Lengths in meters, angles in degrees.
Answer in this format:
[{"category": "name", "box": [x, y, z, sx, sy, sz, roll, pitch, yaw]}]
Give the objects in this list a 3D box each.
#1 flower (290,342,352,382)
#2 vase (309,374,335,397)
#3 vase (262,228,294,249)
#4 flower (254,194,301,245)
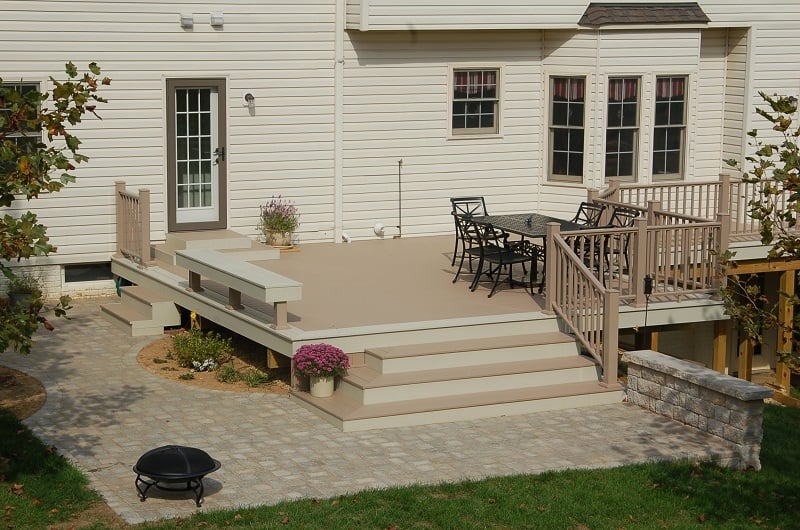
[{"category": "flower", "box": [-1.086, 1.326, 11.055, 0.604, 0.340, 0.591, 0, 0, 5]}, {"category": "vase", "box": [-1.092, 1.692, 11.046, 0.312, 0.208, 0.295, 3, 8, 8]}, {"category": "vase", "box": [-2.454, -0.524, 16.005, 0.455, 0.272, 0.427, -1, 1, -17]}, {"category": "flower", "box": [-2.488, -0.891, 16.055, 1.013, 1.039, 1.005, 5, 9, 28]}]
